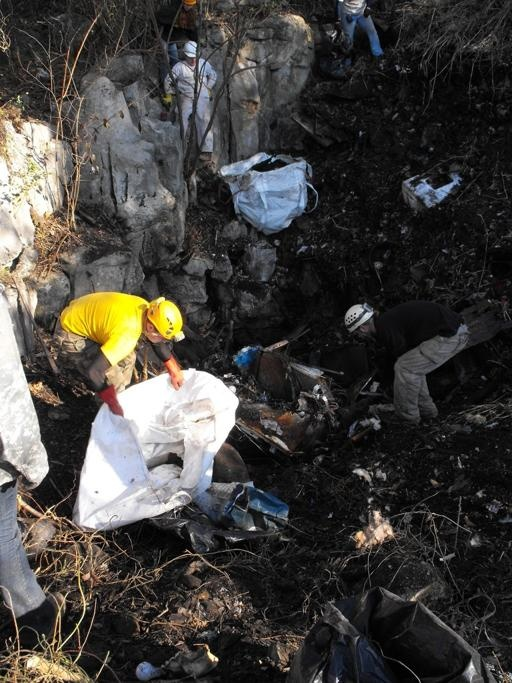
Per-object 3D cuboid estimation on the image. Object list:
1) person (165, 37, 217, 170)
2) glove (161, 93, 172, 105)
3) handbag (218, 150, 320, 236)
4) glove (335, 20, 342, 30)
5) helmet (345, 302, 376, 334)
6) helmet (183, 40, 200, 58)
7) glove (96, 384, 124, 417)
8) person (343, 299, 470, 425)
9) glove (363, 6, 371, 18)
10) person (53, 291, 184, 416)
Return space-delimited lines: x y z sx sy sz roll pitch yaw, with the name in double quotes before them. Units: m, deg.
"person" -0.684 -2.464 6.353 0.508 1.269 0.825 0 37 -5
"glove" -0.926 -2.528 6.320 0.119 0.109 0.106 5 78 -10
"handbag" 0.164 -1.651 6.815 1.142 0.750 0.818 -14 29 -5
"glove" 0.991 -3.852 7.423 0.041 0.076 0.133 -7 80 2
"helmet" 0.790 -0.175 4.921 0.262 0.144 0.183 -23 35 45
"helmet" -0.639 -2.820 5.918 0.118 0.185 0.474 -2 35 -8
"glove" -0.943 0.374 3.943 0.124 0.240 0.144 -16 41 -24
"person" 1.263 0.080 5.072 0.880 0.990 0.749 30 44 31
"glove" 1.234 -3.704 6.874 0.078 0.100 0.027 -7 0 -10
"person" -1.042 0.105 4.449 0.625 0.784 0.502 38 51 -14
